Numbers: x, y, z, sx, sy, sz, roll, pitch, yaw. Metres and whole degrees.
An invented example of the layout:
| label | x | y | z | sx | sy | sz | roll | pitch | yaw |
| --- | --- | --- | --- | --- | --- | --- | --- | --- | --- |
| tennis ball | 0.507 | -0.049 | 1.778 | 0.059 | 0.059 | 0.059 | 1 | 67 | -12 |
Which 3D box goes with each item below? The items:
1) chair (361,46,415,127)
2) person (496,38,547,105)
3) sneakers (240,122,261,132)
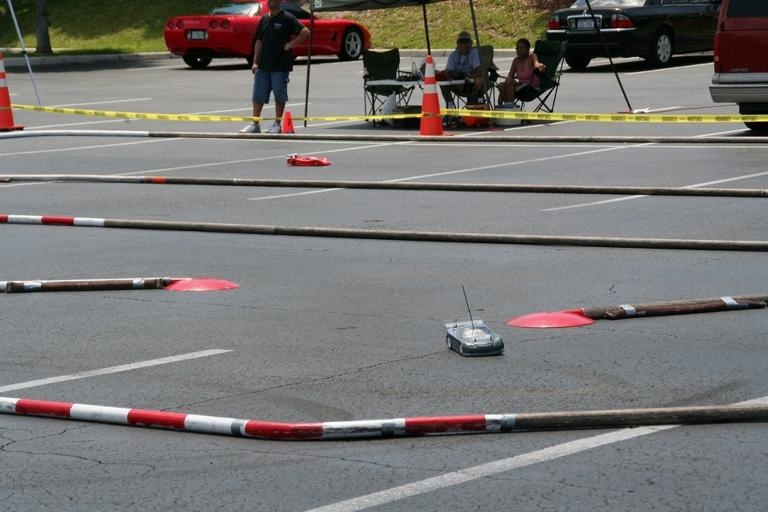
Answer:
| label | x | y | z | sx | sy | sz | roll | pitch | yaw |
| --- | --- | --- | --- | --- | --- | --- | --- | --- | --- |
| chair | 0.044 | -2.891 | 21.091 | 0.993 | 0.969 | 0.831 | 0 | 20 | 4 |
| person | 2.215 | -2.971 | 20.548 | 0.714 | 1.076 | 0.820 | -4 | 21 | -3 |
| sneakers | -2.160 | -2.067 | 20.303 | 0.321 | 0.171 | 0.480 | -4 | 18 | -7 |
